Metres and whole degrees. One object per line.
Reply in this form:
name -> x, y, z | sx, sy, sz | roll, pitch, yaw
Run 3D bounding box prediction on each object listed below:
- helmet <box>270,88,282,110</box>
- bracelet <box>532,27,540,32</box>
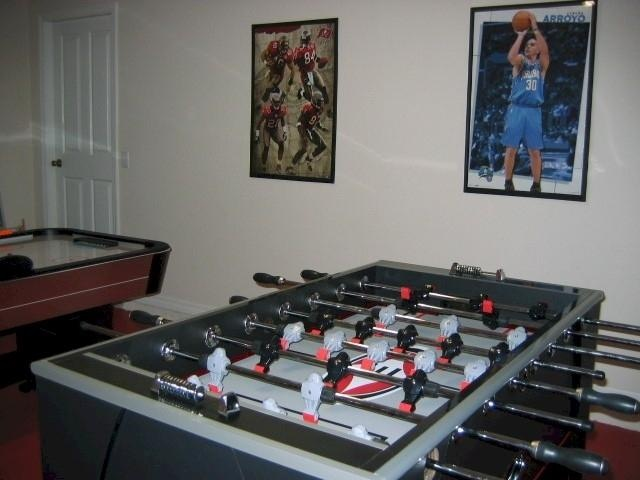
helmet -> -0.320, -1.046, 3.618 | 0.094, 0.138, 0.117 | 0, 5, 13
bracelet -> 1.210, -1.188, 2.740 | 0.022, 0.007, 0.024 | -18, 46, 1
